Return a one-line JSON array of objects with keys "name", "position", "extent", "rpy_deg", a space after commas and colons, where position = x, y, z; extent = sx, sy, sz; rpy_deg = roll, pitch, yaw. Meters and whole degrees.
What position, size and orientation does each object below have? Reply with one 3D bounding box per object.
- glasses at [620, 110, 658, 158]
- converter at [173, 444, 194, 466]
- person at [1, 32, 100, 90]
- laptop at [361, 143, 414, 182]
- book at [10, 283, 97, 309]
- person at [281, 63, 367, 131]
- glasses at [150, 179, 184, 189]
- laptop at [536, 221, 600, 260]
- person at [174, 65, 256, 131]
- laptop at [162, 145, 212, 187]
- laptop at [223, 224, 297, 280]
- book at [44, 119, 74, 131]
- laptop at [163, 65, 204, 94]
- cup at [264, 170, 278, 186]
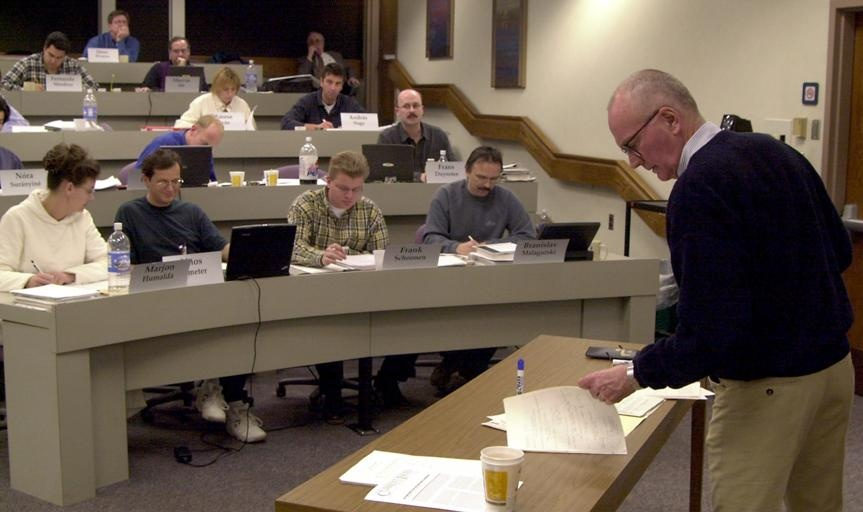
[{"name": "glasses", "position": [0.755, -0.460, 2.597], "extent": [0.042, 0.149, 0.142], "rpy_deg": [22, 9, 6]}, {"name": "converter", "position": [-1.491, 1.202, 4.240], "extent": [0.073, 0.053, 0.124], "rpy_deg": [0, 6, -31]}, {"name": "person", "position": [-4.505, -2.237, 8.060], "extent": [0.803, 0.630, 0.416], "rpy_deg": [-5, 12, -17]}, {"name": "laptop", "position": [-0.388, -0.835, 6.288], "extent": [0.445, 0.334, 0.315], "rpy_deg": [1, 7, 3]}, {"name": "book", "position": [-2.057, 0.206, 3.874], "extent": [0.426, 0.071, 0.405], "rpy_deg": [-8, 13, -30]}, {"name": "person", "position": [-1.239, -1.815, 7.965], "extent": [0.911, 0.695, 0.355], "rpy_deg": [-4, 12, -11]}, {"name": "glasses", "position": [-1.768, -0.484, 4.692], "extent": [0.165, 0.054, 0.058], "rpy_deg": [-9, 13, -32]}, {"name": "laptop", "position": [0.909, -0.153, 4.765], "extent": [0.386, 0.271, 0.260], "rpy_deg": [-1, 17, -14]}, {"name": "person", "position": [-2.320, -1.700, 7.538], "extent": [0.743, 0.649, 0.935], "rpy_deg": [-5, 12, -15]}, {"name": "laptop", "position": [-1.958, -0.751, 5.801], "extent": [0.452, 0.306, 0.327], "rpy_deg": [-2, 21, -30]}, {"name": "laptop", "position": [-0.993, -0.029, 4.141], "extent": [0.388, 0.323, 0.326], "rpy_deg": [-2, 10, -24]}, {"name": "book", "position": [-3.582, -1.264, 6.799], "extent": [0.257, 0.090, 0.423], "rpy_deg": [-8, 13, -28]}, {"name": "laptop", "position": [-3.051, -2.210, 8.732], "extent": [0.590, 0.399, 0.425], "rpy_deg": [1, 27, -17]}, {"name": "cup", "position": [-1.387, -0.677, 6.093], "extent": [0.117, 0.137, 0.142], "rpy_deg": [1, -3, -15]}]
